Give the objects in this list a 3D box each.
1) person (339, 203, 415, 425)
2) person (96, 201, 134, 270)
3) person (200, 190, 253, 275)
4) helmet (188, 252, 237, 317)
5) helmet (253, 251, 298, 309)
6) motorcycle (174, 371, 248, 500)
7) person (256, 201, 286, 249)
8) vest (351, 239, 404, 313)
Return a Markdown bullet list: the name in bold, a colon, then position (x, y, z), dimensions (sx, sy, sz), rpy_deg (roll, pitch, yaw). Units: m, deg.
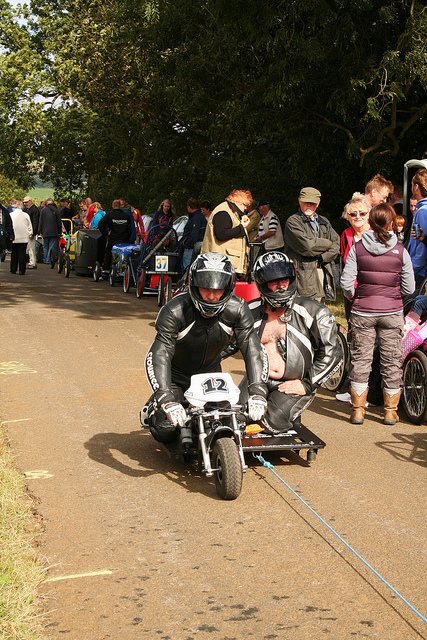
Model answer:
- **person**: position (1.676, -0.038, 6.064), dimensions (0.652, 2.129, 0.535), rpy_deg (1, 2, -24)
- **person**: position (-3.012, -2.494, 17.976), dimensions (0.875, 1.876, 1.233), rpy_deg (0, 2, -37)
- **person**: position (0.234, -1.327, 9.166), dimensions (0.756, 1.135, 0.898), rpy_deg (9, 13, 4)
- **helmet**: position (-0.007, -0.247, 4.041), dimensions (0.328, 0.377, 0.401), rpy_deg (4, 21, -4)
- **helmet**: position (0.495, -0.302, 4.772), dimensions (0.332, 0.450, 0.305), rpy_deg (1, 1, 3)
- **motorcycle**: position (-0.017, 0.673, 3.960), dimensions (0.425, 0.431, 0.841), rpy_deg (1, 7, -7)
- **person**: position (1.211, -1.953, 12.752), dimensions (0.567, 1.079, 1.485), rpy_deg (1, 1, 4)
- **vest**: position (1.653, -0.411, 6.026), dimensions (0.480, 0.705, 0.271), rpy_deg (1, 1, 12)
